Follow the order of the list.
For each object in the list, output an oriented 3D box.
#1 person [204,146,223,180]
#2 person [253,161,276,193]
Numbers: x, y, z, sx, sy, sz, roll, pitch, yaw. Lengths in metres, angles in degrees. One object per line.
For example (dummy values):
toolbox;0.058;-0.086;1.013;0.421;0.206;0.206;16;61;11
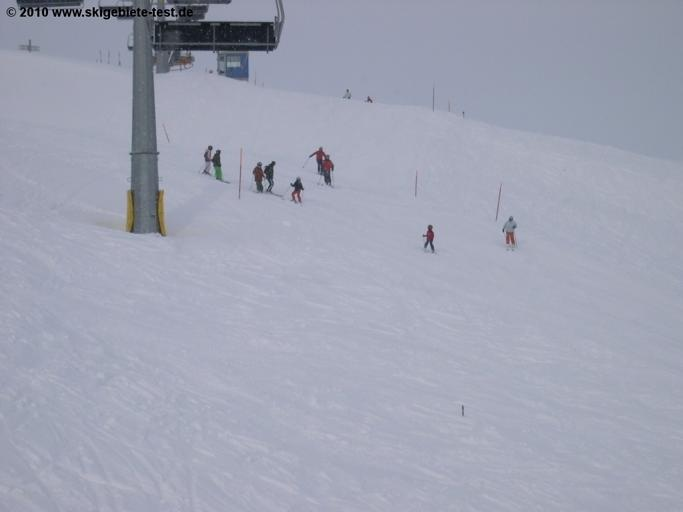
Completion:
person;-5.184;-3.688;48.366;0.534;1.481;1.462;6;11;-16
person;-2.992;-3.012;46.599;0.828;1.640;0.873;-10;23;-29
